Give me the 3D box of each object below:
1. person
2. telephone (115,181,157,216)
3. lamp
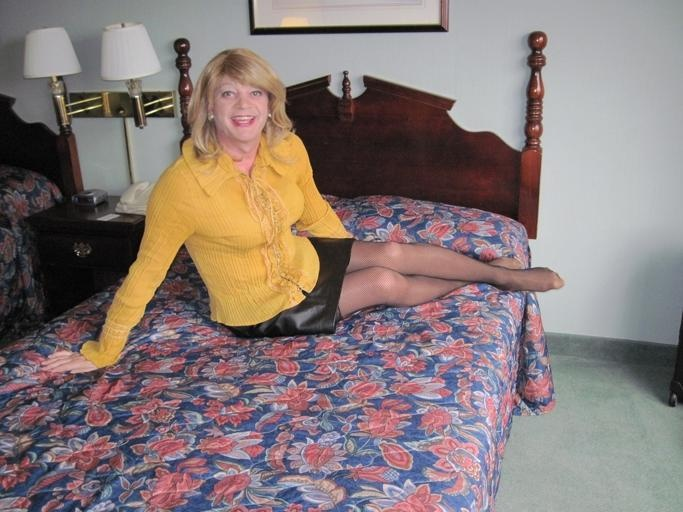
[{"bbox_3d":[-0.204,-0.270,2.519,2.442,1.129,0.804,-2,32,-17],"label":"person"},{"bbox_3d":[-1.239,-0.312,3.464,0.218,0.049,0.200,22,21,7],"label":"telephone"},{"bbox_3d":[-1.431,-1.117,3.515,0.804,0.550,0.368,0,42,1],"label":"lamp"}]
